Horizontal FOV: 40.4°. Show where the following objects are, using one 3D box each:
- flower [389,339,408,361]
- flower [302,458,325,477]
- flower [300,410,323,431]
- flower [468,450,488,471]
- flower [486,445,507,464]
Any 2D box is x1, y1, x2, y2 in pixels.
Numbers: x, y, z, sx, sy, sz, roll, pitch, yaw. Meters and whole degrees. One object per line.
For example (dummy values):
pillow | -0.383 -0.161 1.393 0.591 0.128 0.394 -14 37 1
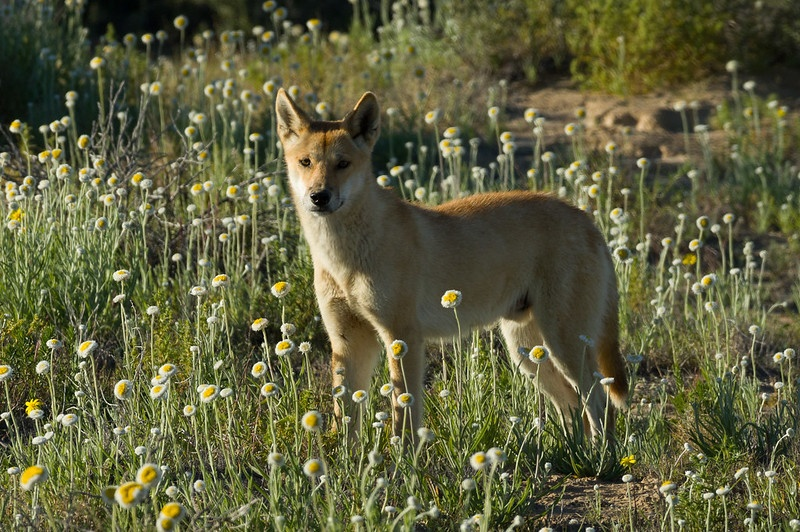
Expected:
flower | -0.005 0.694 9.000 0.158 0.175 0.052 -24 -15 26
flower | -0.638 1.517 8.088 0.142 0.160 0.217 -4 2 -4
flower | -0.662 1.186 8.223 0.152 0.180 0.245 -4 2 -5
flower | 0.589 1.475 8.156 0.123 0.154 0.209 -3 2 3
flower | 0.726 1.464 8.261 0.137 0.167 0.359 -3 2 5
